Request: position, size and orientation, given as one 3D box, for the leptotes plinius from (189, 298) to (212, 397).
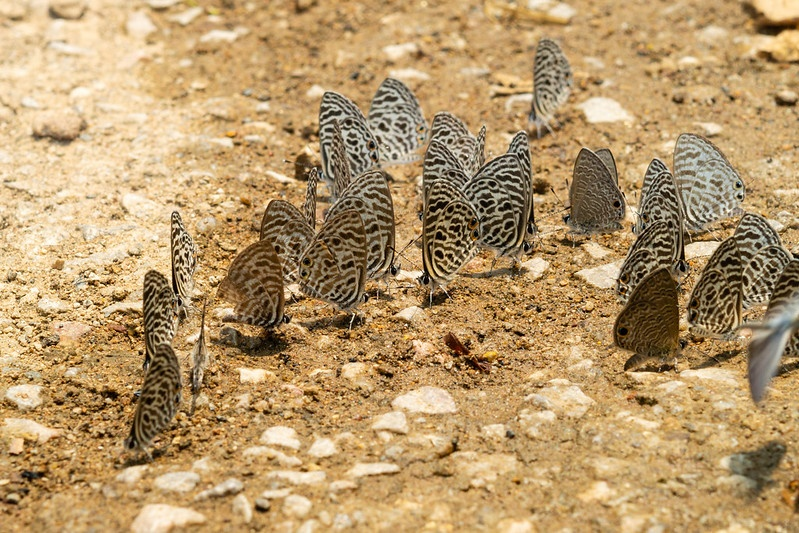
[{"bbox_3d":[-1.555,0.637,7.217,0.221,0.256,0.768,4,101,-5],"label":"leptotes plinius"}]
